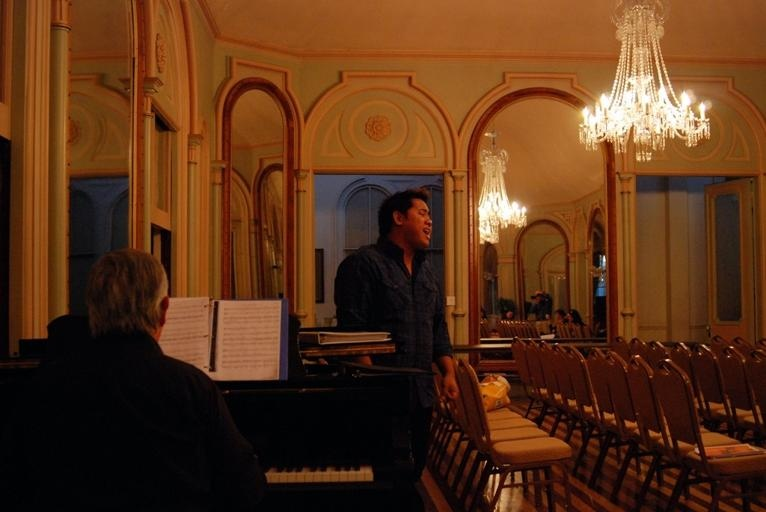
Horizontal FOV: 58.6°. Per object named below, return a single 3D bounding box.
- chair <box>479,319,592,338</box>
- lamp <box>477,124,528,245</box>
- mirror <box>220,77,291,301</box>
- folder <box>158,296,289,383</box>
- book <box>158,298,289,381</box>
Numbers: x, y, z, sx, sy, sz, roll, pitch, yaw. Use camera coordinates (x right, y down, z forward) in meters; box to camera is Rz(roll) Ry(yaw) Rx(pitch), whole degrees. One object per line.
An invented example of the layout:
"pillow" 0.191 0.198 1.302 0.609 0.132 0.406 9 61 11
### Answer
"chair" 2.101 1.024 9.576 1.276 0.193 0.265 2 4 -7
"lamp" 1.592 -1.022 9.779 0.824 1.593 0.863 -2 -5 8
"mirror" -1.690 -0.559 8.993 0.180 3.662 1.386 6 11 32
"folder" -0.906 0.490 3.660 0.798 0.537 0.216 1 -46 -12
"book" -0.909 0.467 3.665 0.777 0.533 0.205 4 -39 -12
